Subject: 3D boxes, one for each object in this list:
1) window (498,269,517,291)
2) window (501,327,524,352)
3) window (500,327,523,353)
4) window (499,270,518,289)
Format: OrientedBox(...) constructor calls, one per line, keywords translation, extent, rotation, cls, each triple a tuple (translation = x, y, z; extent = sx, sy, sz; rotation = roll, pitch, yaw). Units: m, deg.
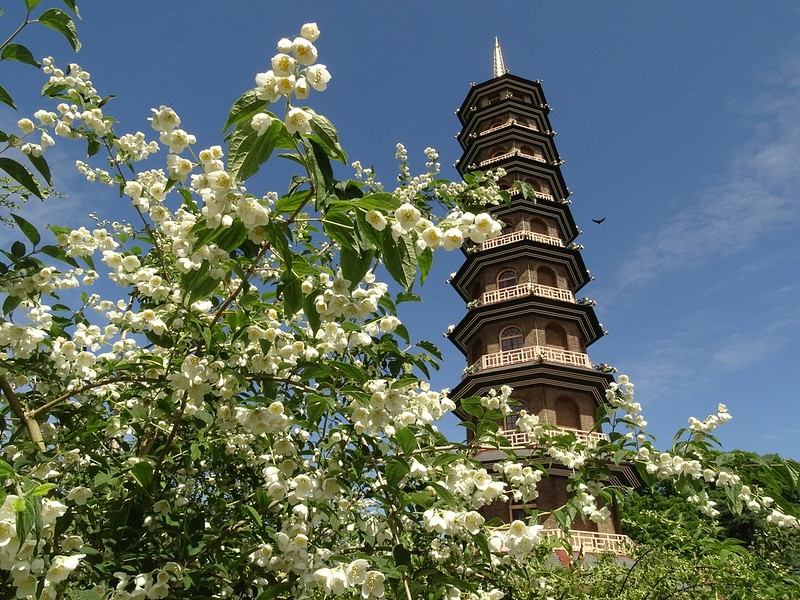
OrientedBox(translation=(4.287, -0.781, 24.544), extent=(0.889, 1.118, 0.081), rotation=(-7, -35, 42), cls="window")
OrientedBox(translation=(4.212, 1.484, 22.989), extent=(0.789, 1.050, 0.080), rotation=(-23, -58, 43), cls="window")
OrientedBox(translation=(4.174, 1.513, 22.972), extent=(0.836, 1.111, 0.087), rotation=(-19, -55, 43), cls="window")
OrientedBox(translation=(4.333, -0.786, 24.567), extent=(0.732, 0.917, 0.079), rotation=(-9, -36, 46), cls="window")
